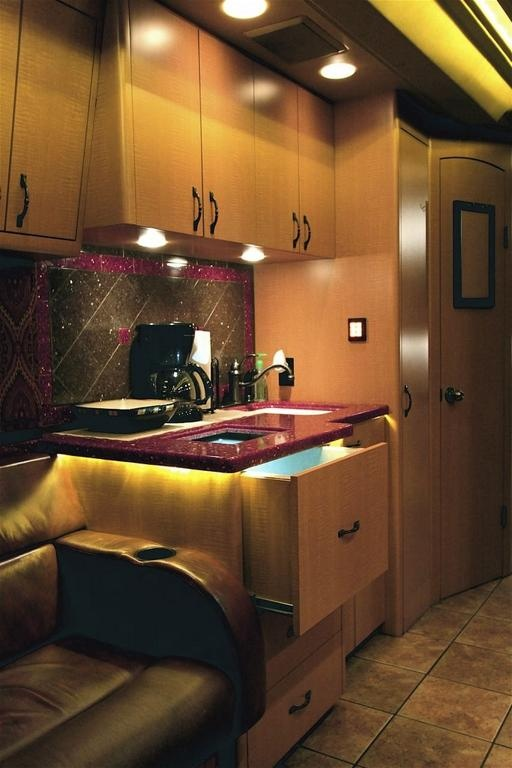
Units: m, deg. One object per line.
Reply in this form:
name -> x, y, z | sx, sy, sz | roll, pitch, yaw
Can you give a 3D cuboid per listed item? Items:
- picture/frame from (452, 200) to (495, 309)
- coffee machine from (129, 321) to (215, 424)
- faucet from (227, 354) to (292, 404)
picture/frame -> 1.125, -0.653, 3.084 | 0.037, 0.522, 0.286 | -15, 19, -28
coffee machine -> -0.270, -0.053, 2.286 | 0.337, 0.469, 0.320 | 0, 3, 12
faucet -> 0.010, -0.022, 2.807 | 0.334, 0.253, 0.226 | -2, -3, -8
